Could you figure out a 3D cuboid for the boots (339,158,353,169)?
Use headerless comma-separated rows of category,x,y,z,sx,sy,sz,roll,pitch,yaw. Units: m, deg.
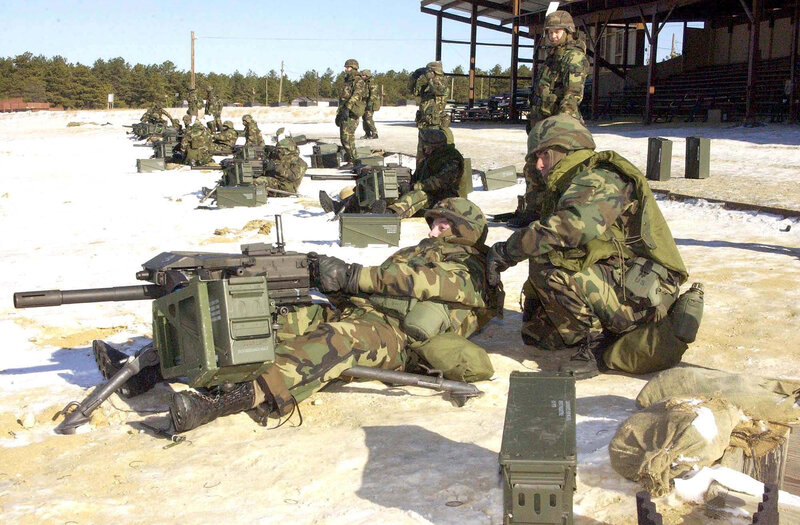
boots,-1.744,-3.106,20.781,0.339,0.398,0.983,-2,0,8

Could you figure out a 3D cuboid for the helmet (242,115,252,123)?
helmet,-5.396,-5.111,22.998,0.362,0.257,0.263,-20,24,-23

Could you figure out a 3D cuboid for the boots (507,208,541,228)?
boots,2.033,-0.712,10.802,0.283,0.330,0.803,-4,10,-23

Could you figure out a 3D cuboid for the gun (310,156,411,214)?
gun,-0.580,-1.361,12.164,1.825,1.111,0.949,-10,-26,37

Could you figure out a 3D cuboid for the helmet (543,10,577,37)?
helmet,2.685,-4.061,10.945,0.465,0.385,0.422,2,16,10

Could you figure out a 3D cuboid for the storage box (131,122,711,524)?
storage box,0.385,0.232,6.182,4.194,1.991,2.585,-3,7,-7

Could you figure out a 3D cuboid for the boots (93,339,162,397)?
boots,-2.456,0.936,5.893,0.578,0.224,0.541,16,43,1

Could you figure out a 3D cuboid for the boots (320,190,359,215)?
boots,-1.146,-1.121,12.182,0.763,0.304,0.439,-1,17,-16

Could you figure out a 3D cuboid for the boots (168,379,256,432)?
boots,-1.449,1.079,5.114,0.320,0.260,0.668,-8,0,45

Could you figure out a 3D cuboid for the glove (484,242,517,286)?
glove,0.931,0.006,6.212,0.184,0.288,0.377,11,61,15

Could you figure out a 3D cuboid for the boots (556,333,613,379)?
boots,1.852,0.889,6.463,0.643,0.296,0.380,9,27,-10

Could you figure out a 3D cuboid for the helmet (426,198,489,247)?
helmet,0.596,-0.426,6.632,0.612,0.456,0.428,-14,12,-25
